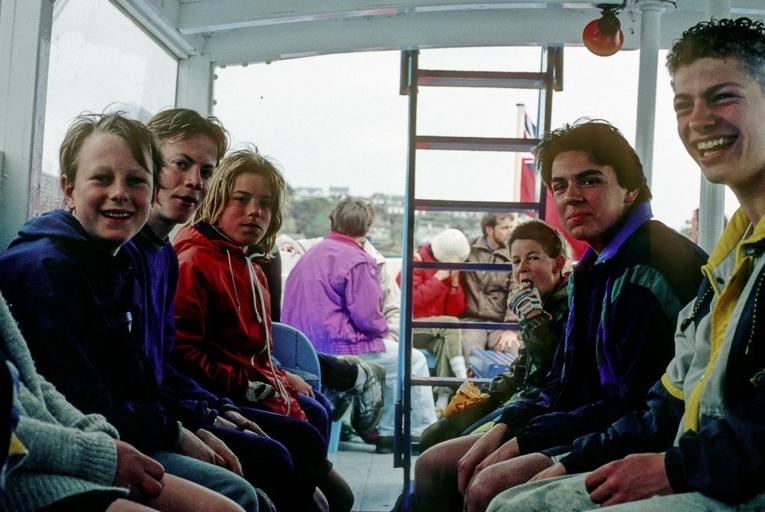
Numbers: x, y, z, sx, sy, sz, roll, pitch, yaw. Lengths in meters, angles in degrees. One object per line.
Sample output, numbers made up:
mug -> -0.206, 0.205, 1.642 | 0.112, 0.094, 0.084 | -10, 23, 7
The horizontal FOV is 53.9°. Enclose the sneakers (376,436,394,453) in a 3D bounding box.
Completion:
sneakers -> 0.012, 1.449, 5.842 | 0.136, 0.111, 0.143 | 0, -12, 5

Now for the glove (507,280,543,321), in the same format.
glove -> 0.761, 0.268, 3.948 | 0.096, 0.211, 0.177 | -19, 40, -31
